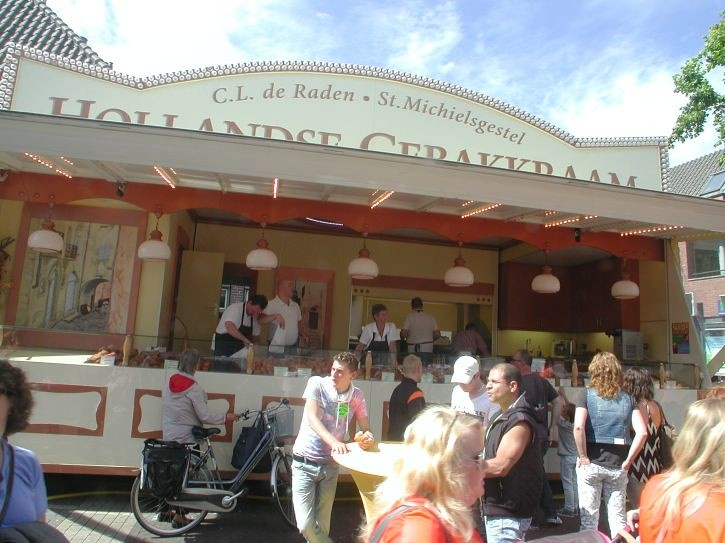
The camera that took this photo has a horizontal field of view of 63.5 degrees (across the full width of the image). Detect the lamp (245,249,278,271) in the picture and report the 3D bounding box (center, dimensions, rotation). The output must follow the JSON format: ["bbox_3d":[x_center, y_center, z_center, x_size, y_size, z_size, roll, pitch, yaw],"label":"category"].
[{"bbox_3d":[-1.371,-0.135,7.788,0.375,0.266,0.371,-5,-4,22],"label":"lamp"}]

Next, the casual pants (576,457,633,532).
[{"bbox_3d":[2.070,1.928,5.000,0.446,0.591,0.381,4,-2,-39],"label":"casual pants"}]

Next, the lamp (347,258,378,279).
[{"bbox_3d":[0.013,-0.035,7.991,0.322,0.230,0.309,0,-8,5],"label":"lamp"}]

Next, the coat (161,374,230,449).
[{"bbox_3d":[-1.773,1.406,6.042,0.771,0.624,0.513,-1,-10,25],"label":"coat"}]

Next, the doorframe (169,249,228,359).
[{"bbox_3d":[-2.687,0.577,9.893,0.771,1.945,0.165,11,20,12],"label":"doorframe"}]

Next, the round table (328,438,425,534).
[{"bbox_3d":[0.148,1.514,4.310,0.413,0.358,0.360,0,-52,-15],"label":"round table"}]

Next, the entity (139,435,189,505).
[{"bbox_3d":[-1.902,1.915,5.704,0.466,0.519,0.339,2,-5,-10],"label":"entity"}]

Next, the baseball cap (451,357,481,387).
[{"bbox_3d":[0.879,0.855,5.027,0.195,0.146,0.286,0,3,26],"label":"baseball cap"}]

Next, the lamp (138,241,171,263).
[{"bbox_3d":[-2.654,-0.237,7.414,0.309,0.184,0.300,-1,0,13],"label":"lamp"}]

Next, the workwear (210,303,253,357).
[{"bbox_3d":[-1.723,0.787,7.780,0.300,0.796,0.444,-6,-27,37],"label":"workwear"}]

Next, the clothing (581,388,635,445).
[{"bbox_3d":[2.200,1.252,5.174,0.583,0.495,0.304,-5,-20,29],"label":"clothing"}]

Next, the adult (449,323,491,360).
[{"bbox_3d":[1.620,1.116,8.709,0.404,0.697,0.451,11,-14,-34],"label":"adult"}]

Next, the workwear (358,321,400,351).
[{"bbox_3d":[0.231,0.896,8.160,0.670,0.480,0.350,1,-11,-5],"label":"workwear"}]

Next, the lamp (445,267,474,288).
[{"bbox_3d":[1.369,0.072,8.260,0.342,0.263,0.330,0,-10,8],"label":"lamp"}]

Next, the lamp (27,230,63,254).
[{"bbox_3d":[-3.919,-0.369,7.250,0.359,0.243,0.345,3,1,-28],"label":"lamp"}]

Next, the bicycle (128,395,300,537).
[{"bbox_3d":[-1.598,2.097,6.320,2.099,1.235,0.900,0,-7,-21],"label":"bicycle"}]

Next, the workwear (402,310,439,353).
[{"bbox_3d":[0.927,0.987,9.370,0.593,0.673,0.445,1,2,-6],"label":"workwear"}]

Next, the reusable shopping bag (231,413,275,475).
[{"bbox_3d":[-1.155,1.865,6.255,0.429,0.786,0.507,8,-33,-1],"label":"reusable shopping bag"}]
